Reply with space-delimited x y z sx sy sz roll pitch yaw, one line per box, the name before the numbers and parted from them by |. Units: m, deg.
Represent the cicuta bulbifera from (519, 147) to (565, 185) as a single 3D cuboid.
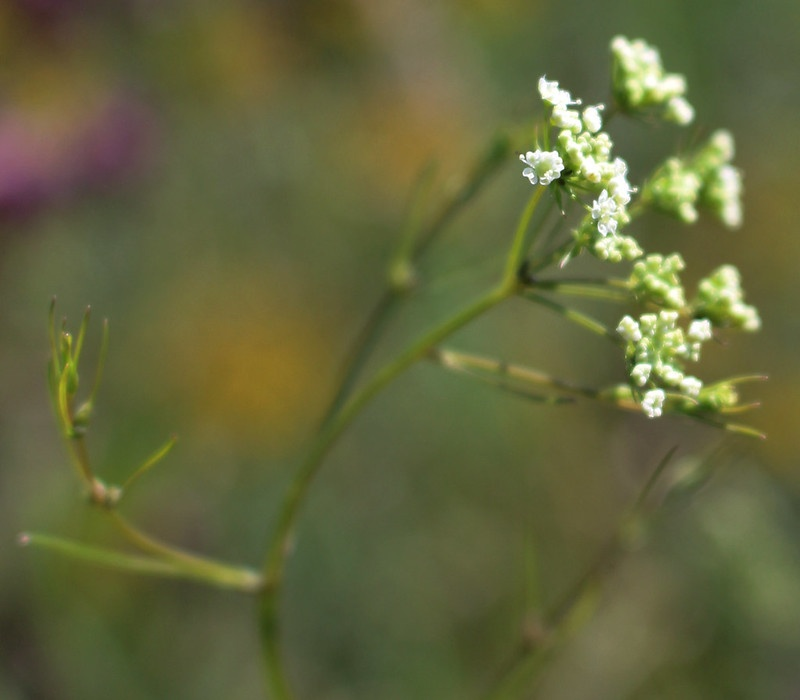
cicuta bulbifera | 0.473 -0.602 3.791 0.138 0.114 0.105 8 -44 -17
